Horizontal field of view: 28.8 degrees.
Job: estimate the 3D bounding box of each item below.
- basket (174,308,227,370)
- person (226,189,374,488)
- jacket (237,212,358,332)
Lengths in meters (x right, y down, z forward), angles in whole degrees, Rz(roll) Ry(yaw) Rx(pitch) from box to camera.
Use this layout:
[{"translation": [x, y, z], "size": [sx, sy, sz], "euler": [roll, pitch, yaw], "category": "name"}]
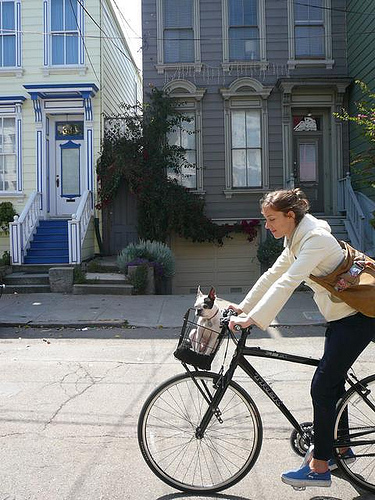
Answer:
[{"translation": [0.066, 0.623, 5.049], "size": [0.312, 0.417, 0.446], "euler": [26, -3, -2], "category": "basket"}, {"translation": [0.768, 0.594, 4.907], "size": [0.935, 1.997, 0.572], "euler": [2, 5, 12], "category": "person"}, {"translation": [0.826, 0.139, 4.950], "size": [0.936, 0.743, 0.477], "euler": [-13, 0, 6], "category": "jacket"}]
